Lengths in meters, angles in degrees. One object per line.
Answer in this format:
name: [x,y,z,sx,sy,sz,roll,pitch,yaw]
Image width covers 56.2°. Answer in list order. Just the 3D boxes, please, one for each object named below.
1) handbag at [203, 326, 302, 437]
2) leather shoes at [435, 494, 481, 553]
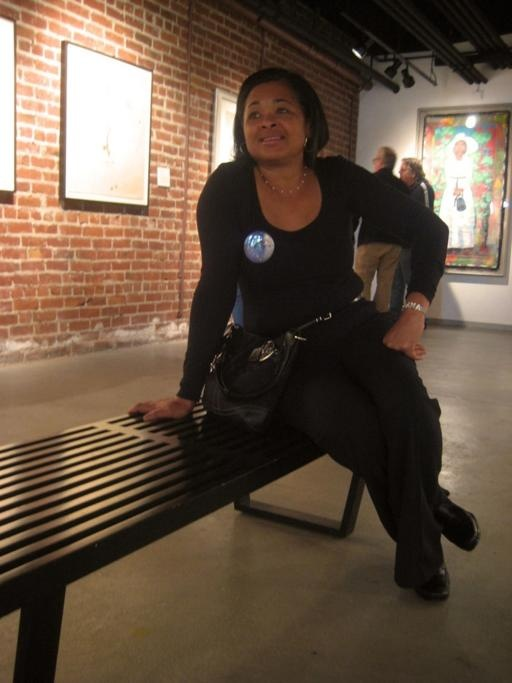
handbag: [-0.002,0.121,1.217,0.218,0.250,0.083,15,-9,40]
leather shoes: [0.455,0.420,1.099,0.168,0.138,0.061,0,1,-42]
